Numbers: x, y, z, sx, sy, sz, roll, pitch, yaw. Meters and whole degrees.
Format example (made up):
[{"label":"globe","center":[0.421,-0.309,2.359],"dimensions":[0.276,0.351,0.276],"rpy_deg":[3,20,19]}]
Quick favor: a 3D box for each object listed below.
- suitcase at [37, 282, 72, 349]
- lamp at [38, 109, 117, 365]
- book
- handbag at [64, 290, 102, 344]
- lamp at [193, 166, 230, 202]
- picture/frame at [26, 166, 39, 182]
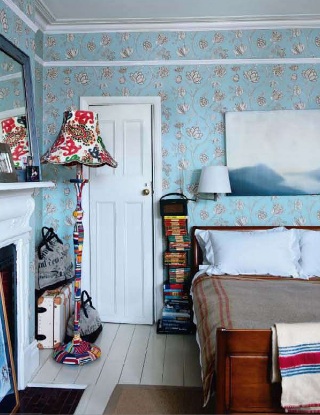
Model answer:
[{"label":"suitcase","center":[-0.789,0.810,2.598],"dimensions":[0.168,0.412,0.467],"rpy_deg":[1,2,6]},{"label":"lamp","center":[-0.530,0.197,2.418],"dimensions":[0.464,1.698,0.344],"rpy_deg":[-1,7,-8]},{"label":"book","center":[0.111,0.532,2.903],"dimensions":[0.283,0.921,0.351],"rpy_deg":[0,7,-1]},{"label":"handbag","center":[-0.595,0.840,2.668],"dimensions":[0.233,0.395,0.426],"rpy_deg":[-2,-6,11]},{"label":"lamp","center":[0.440,-0.196,2.850],"dimensions":[0.286,0.261,0.278],"rpy_deg":[-4,7,-22]},{"label":"picture/frame","center":[-0.761,-0.197,2.088],"dimensions":[0.032,0.095,0.090],"rpy_deg":[-5,-11,33]}]
